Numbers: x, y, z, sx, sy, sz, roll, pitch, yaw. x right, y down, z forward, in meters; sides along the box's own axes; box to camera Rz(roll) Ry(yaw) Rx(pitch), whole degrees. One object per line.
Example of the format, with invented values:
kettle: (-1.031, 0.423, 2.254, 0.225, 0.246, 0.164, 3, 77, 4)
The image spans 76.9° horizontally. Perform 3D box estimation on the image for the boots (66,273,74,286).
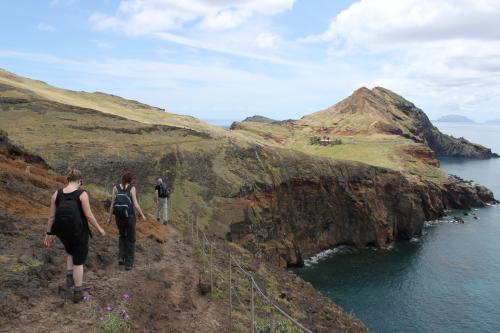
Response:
boots: (-6.152, 3.866, 10.730, 0.214, 0.198, 0.502, 2, 15, -14)

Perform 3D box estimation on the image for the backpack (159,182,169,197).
backpack: (-5.364, 1.463, 19.463, 0.477, 0.940, 0.591, -5, 9, -12)

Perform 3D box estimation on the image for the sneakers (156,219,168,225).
sneakers: (-5.948, 3.714, 21.066, 0.664, 0.188, 0.274, 33, -15, -11)

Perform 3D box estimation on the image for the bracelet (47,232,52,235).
bracelet: (-6.883, 2.294, 10.746, 0.137, 0.038, 0.119, 3, -3, 7)
